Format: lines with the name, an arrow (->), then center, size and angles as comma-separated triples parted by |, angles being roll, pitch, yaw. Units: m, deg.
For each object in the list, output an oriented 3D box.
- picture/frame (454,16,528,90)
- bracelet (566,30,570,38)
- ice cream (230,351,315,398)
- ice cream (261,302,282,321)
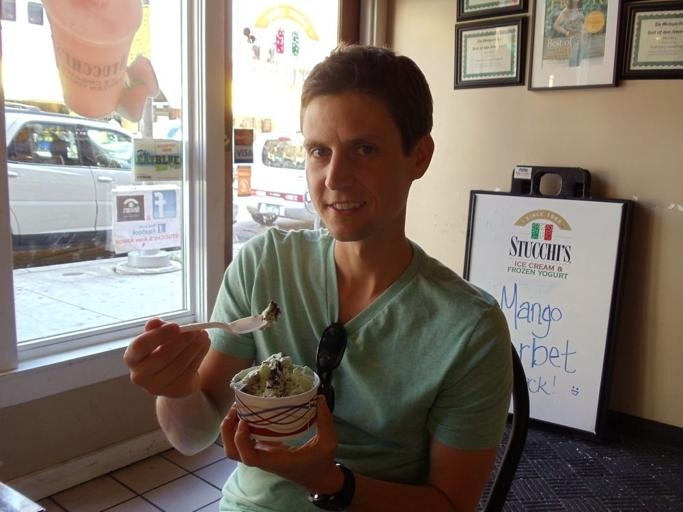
picture/frame -> 0.915, -1.238, 2.896 | 0.429, 0.460, 0.047 | 6, 7, 28
bracelet -> 1.265, -1.248, 2.696 | 0.009, 0.032, 0.021 | -3, 15, -39
ice cream -> -0.137, 0.246, 1.015 | 0.141, 0.063, 0.144 | 4, 14, 41
ice cream -> -0.172, 0.128, 1.161 | 0.040, 0.049, 0.073 | -1, 14, -11
